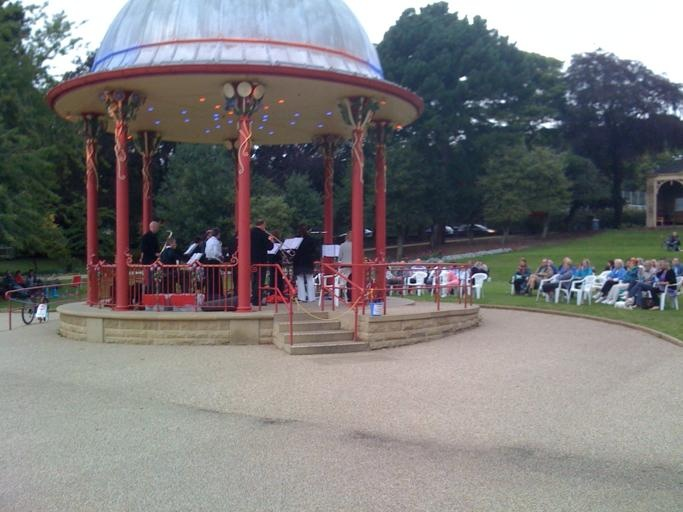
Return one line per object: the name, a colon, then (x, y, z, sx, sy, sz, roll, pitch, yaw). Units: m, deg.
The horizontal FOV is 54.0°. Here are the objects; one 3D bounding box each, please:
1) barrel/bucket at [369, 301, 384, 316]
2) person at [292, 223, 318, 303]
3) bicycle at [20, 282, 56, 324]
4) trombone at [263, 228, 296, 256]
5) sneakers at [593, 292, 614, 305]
barrel/bucket: (0.776, 1.142, 14.538, 0.246, 0.285, 0.255, 0, -2, 0)
person: (-0.941, 0.212, 16.969, 0.523, 1.948, 0.872, 0, 5, -4)
bicycle: (-9.812, 1.513, 21.569, 0.936, 1.231, 1.990, -1, -2, -2)
trombone: (-1.368, -0.332, 16.736, 0.656, 0.502, 0.189, 0, -12, 41)
sneakers: (8.557, 1.420, 21.801, 0.652, 0.299, 0.212, 5, -7, -25)
